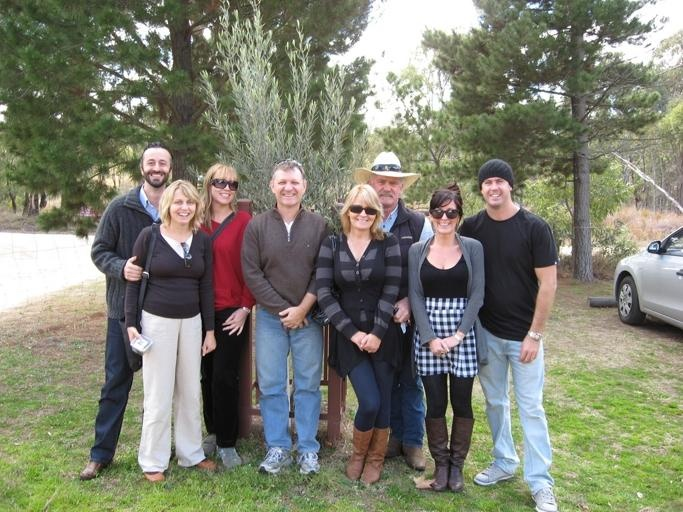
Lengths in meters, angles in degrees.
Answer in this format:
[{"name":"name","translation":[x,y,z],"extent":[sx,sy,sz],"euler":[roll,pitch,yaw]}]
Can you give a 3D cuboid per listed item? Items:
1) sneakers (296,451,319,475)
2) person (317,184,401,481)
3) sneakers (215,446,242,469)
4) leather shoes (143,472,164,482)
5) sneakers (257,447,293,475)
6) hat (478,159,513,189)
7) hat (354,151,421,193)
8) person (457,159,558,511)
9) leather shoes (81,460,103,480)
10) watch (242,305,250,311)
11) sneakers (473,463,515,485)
[{"name":"sneakers","translation":[-0.344,2.041,5.155],"extent":[0.231,0.173,0.197],"euler":[2,9,0]},{"name":"person","translation":[0.150,0.746,5.109],"extent":[0.805,2.866,0.548],"euler":[3,9,7]},{"name":"sneakers","translation":[-1.149,2.030,5.237],"extent":[0.304,0.231,0.117],"euler":[-2,-9,28]},{"name":"leather shoes","translation":[-1.801,2.093,4.929],"extent":[0.116,0.051,0.092],"euler":[0,44,3]},{"name":"sneakers","translation":[-0.670,2.007,5.154],"extent":[0.302,0.205,0.212],"euler":[1,9,-5]},{"name":"hat","translation":[1.487,-0.811,5.103],"extent":[0.263,0.241,0.282],"euler":[2,2,8]},{"name":"hat","translation":[0.498,-0.992,5.789],"extent":[0.712,0.338,0.825],"euler":[8,-6,-3]},{"name":"person","translation":[1.624,0.705,4.952],"extent":[0.979,3.181,0.542],"euler":[6,10,26]},{"name":"leather shoes","translation":[-2.415,2.035,4.939],"extent":[0.084,0.119,0.261],"euler":[-21,-18,-3]},{"name":"watch","translation":[-0.990,0.522,5.261],"extent":[0.047,0.052,0.013],"euler":[16,4,-16]},{"name":"sneakers","translation":[1.508,2.195,5.261],"extent":[0.430,0.203,0.166],"euler":[4,-9,-13]}]
